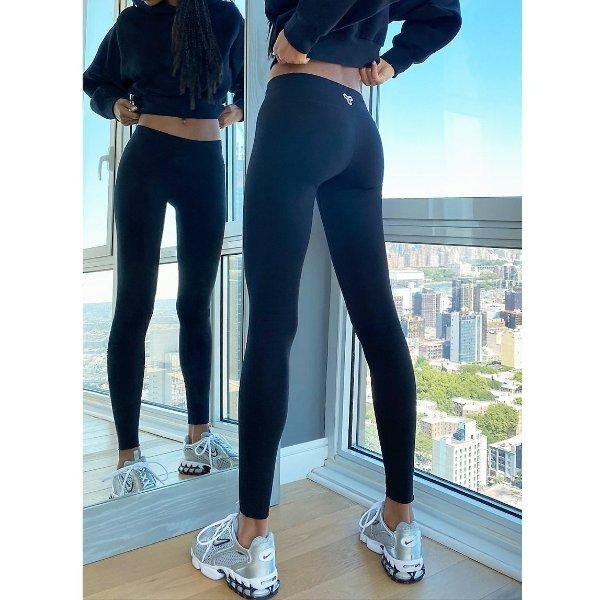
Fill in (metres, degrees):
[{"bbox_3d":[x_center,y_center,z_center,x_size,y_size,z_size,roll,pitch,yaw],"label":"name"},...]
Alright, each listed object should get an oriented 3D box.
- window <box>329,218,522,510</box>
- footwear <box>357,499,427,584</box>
[{"bbox_3d":[0.393,0.184,1.624,0.041,0.921,0.856,-1,2,-33],"label":"window"},{"bbox_3d":[0.239,0.619,1.441,0.087,0.104,0.214,-1,7,-5],"label":"footwear"}]
